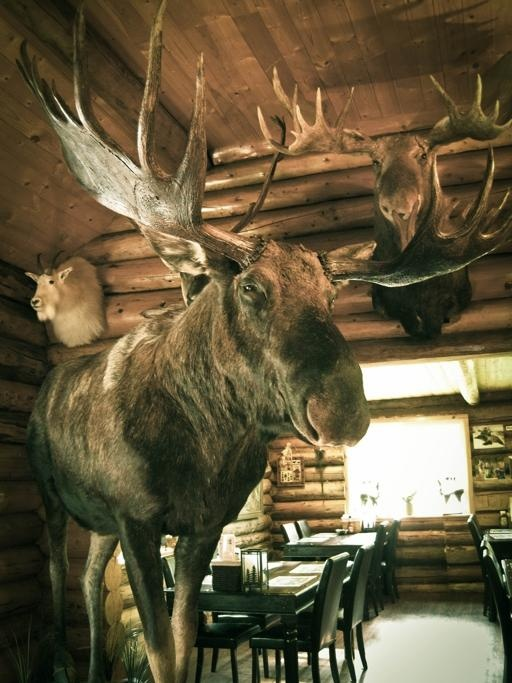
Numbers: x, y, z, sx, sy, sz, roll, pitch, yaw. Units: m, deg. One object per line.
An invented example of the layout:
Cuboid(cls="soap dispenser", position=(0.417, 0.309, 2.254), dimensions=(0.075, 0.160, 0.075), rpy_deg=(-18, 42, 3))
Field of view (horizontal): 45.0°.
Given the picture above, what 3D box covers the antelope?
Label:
Cuboid(cls="antelope", position=(-1.180, -0.342, 3.785), dimensions=(0.462, 0.629, 0.532), rpy_deg=(-6, -54, 7))
